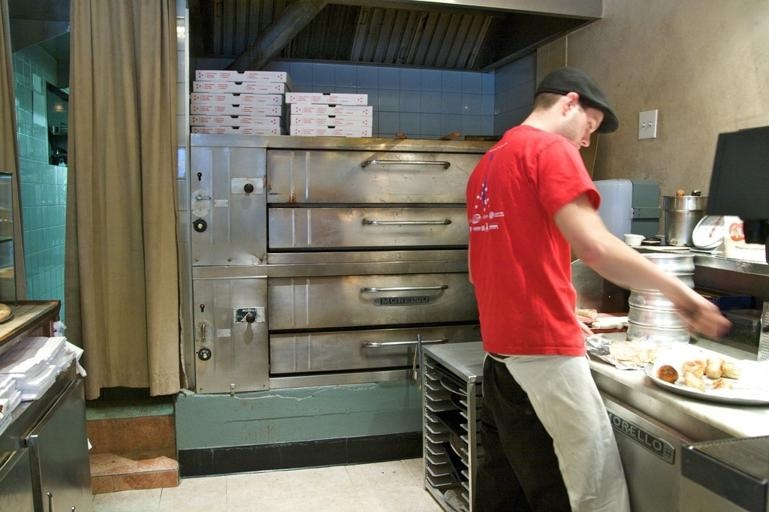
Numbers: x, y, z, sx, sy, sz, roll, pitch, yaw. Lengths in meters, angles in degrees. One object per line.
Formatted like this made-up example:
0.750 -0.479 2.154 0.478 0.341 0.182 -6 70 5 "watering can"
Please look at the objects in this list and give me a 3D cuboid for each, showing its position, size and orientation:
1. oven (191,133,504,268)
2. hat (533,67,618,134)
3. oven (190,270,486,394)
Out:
-0.268 -0.370 4.288 2.083 0.818 0.676 0 5 -14 "oven"
0.916 -0.725 2.844 0.384 0.189 0.275 17 -2 -7 "hat"
-0.225 0.511 4.267 2.133 0.695 0.700 -2 -7 1 "oven"
